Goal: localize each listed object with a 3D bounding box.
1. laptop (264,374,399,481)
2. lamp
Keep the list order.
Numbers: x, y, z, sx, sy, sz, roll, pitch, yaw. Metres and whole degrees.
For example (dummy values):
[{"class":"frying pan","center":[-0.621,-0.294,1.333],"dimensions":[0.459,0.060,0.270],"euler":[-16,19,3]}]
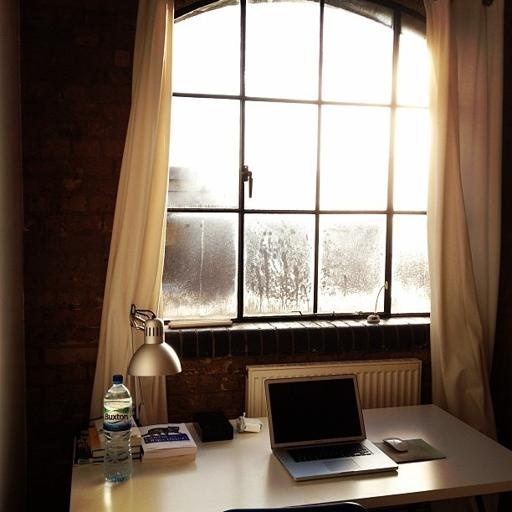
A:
[{"class":"laptop","center":[0.241,0.542,1.977],"dimensions":[0.282,0.247,0.329],"euler":[-1,7,-14]},{"class":"lamp","center":[-0.365,0.377,1.820],"dimensions":[0.182,0.436,0.184],"euler":[-2,-4,18]}]
